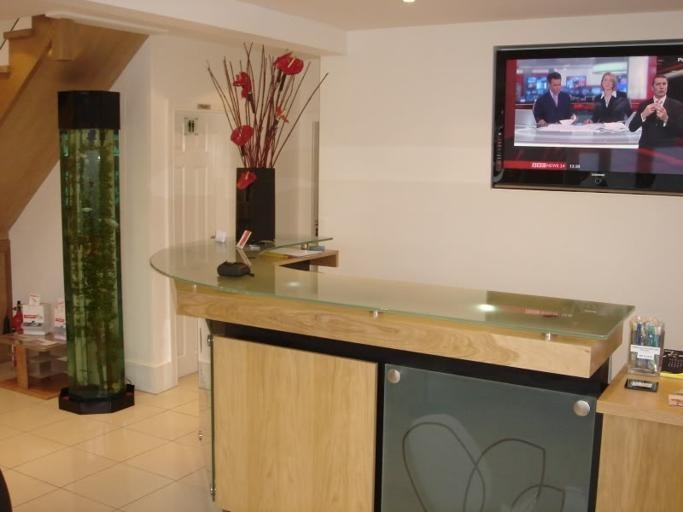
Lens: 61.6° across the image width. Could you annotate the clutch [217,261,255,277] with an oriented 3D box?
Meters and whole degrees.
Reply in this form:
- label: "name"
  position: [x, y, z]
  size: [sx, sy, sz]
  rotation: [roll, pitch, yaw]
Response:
- label: "clutch"
  position: [-0.603, 0.080, 3.230]
  size: [0.111, 0.043, 0.111]
  rotation: [3, 10, -4]
